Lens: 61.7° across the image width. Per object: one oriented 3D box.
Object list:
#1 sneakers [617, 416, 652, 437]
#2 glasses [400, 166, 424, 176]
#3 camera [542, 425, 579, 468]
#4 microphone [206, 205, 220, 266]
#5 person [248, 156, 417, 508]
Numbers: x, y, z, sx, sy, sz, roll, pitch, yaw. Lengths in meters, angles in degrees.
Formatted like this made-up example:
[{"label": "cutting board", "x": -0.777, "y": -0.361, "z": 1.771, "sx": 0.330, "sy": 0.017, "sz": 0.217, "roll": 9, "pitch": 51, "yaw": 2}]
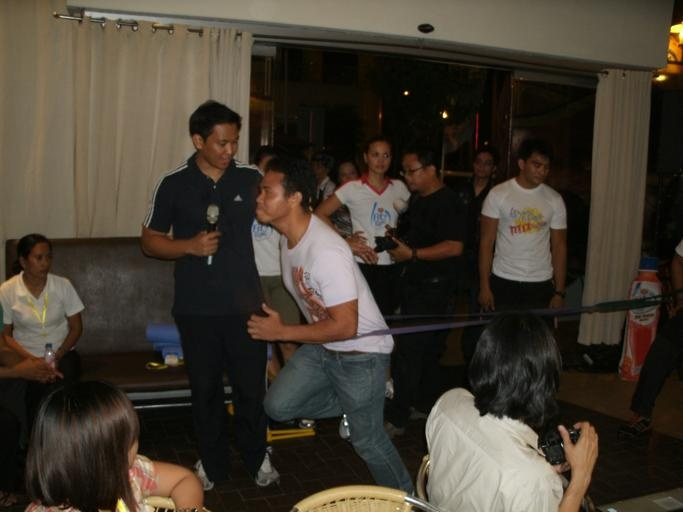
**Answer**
[{"label": "sneakers", "x": 2.285, "y": 1.287, "z": 4.401, "sx": 0.320, "sy": 0.140, "sz": 0.118, "roll": -1, "pitch": -1, "yaw": -19}, {"label": "glasses", "x": 0.563, "y": -0.636, "z": 4.318, "sx": 0.117, "sy": 0.035, "sz": 0.112, "roll": -8, "pitch": 5, "yaw": -30}, {"label": "camera", "x": 0.853, "y": 0.751, "z": 2.258, "sx": 0.146, "sy": 0.151, "sz": 0.053, "roll": -7, "pitch": 1, "yaw": -4}, {"label": "microphone", "x": -0.749, "y": -0.127, "z": 3.352, "sx": 0.079, "sy": 0.348, "sz": 0.149, "roll": -2, "pitch": 14, "yaw": -13}, {"label": "person", "x": -0.049, "y": 0.338, "z": 3.087, "sx": 0.867, "sy": 1.673, "sz": 0.496, "roll": 3, "pitch": 13, "yaw": 7}]
